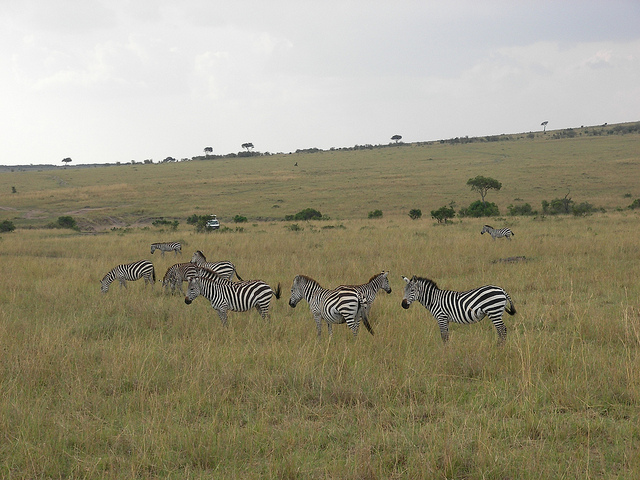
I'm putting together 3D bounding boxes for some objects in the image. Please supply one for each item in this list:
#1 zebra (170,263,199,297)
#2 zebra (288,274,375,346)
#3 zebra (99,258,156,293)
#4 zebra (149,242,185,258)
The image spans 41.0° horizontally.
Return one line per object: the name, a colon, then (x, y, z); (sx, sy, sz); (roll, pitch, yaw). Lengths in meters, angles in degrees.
zebra: (-4.602, 1.348, 28.744); (1.473, 1.242, 0.393); (-8, -7, 41)
zebra: (0.229, 1.992, 24.222); (2.470, 1.947, 0.819); (1, 9, 26)
zebra: (-6.621, 1.275, 29.422); (1.795, 1.150, 1.692); (-5, 14, -15)
zebra: (-6.409, 0.465, 35.590); (1.432, 0.754, 0.403); (4, 6, 3)
